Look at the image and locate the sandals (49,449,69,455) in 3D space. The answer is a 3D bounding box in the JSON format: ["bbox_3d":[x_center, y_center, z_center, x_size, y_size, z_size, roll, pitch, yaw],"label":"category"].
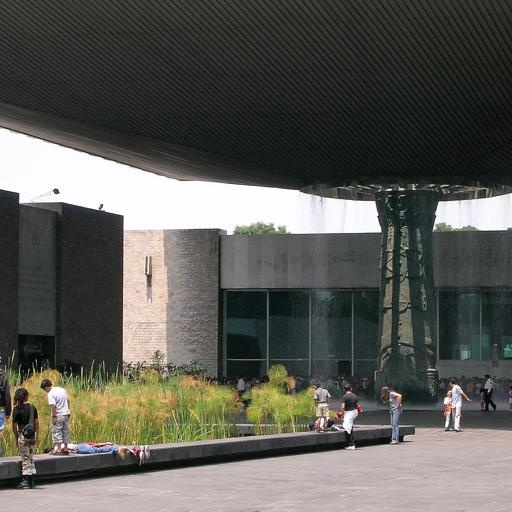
[{"bbox_3d":[-3.197,3.178,19.434,0.339,0.089,0.177,-2,-6,5],"label":"sandals"}]

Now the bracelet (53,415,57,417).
[{"bbox_3d":[-3.249,2.586,19.375,0.022,0.056,0.118,-2,-6,14],"label":"bracelet"}]

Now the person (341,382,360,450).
[{"bbox_3d":[1.887,3.242,24.051,0.369,1.257,1.023,-1,-5,5],"label":"person"}]

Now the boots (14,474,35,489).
[{"bbox_3d":[-3.512,3.430,18.224,0.194,0.203,0.308,4,-7,-43],"label":"boots"}]

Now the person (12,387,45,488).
[{"bbox_3d":[-3.492,2.773,18.202,0.419,1.503,0.353,-4,-6,34],"label":"person"}]
